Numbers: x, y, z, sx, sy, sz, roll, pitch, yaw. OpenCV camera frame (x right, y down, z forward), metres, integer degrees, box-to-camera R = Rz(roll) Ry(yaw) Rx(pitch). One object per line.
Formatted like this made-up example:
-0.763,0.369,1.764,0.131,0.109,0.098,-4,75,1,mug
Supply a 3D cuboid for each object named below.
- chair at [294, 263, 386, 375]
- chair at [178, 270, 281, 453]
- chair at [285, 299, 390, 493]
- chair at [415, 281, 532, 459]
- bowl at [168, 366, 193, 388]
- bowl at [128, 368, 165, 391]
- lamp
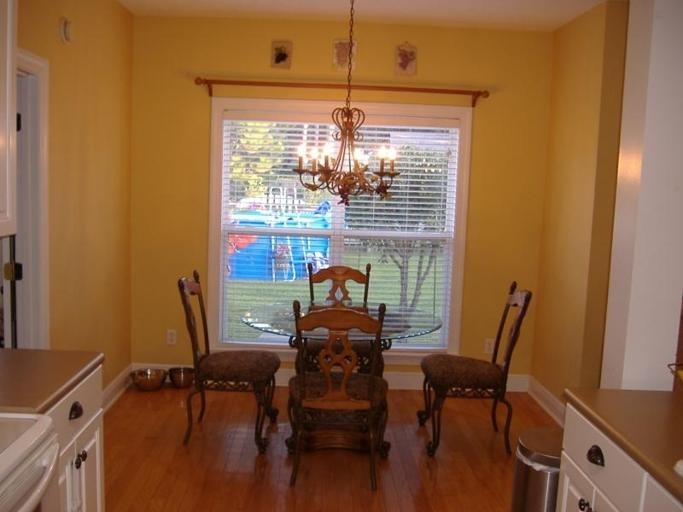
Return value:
-0.026,0.484,4.277,0.533,0.977,0.621,1,-10,1,chair
-0.750,0.709,4.056,0.646,1.108,0.583,2,5,-4,chair
-0.022,0.814,3.750,0.655,1.178,0.590,2,10,1,chair
0.901,0.771,4.126,0.633,1.092,0.598,3,7,8,chair
-1.300,0.968,4.828,0.163,0.096,0.166,0,0,0,bowl
-1.558,0.985,4.791,0.176,0.079,0.188,1,2,0,bowl
0.054,-1.022,4.115,0.812,1.533,1.491,1,12,-2,lamp
